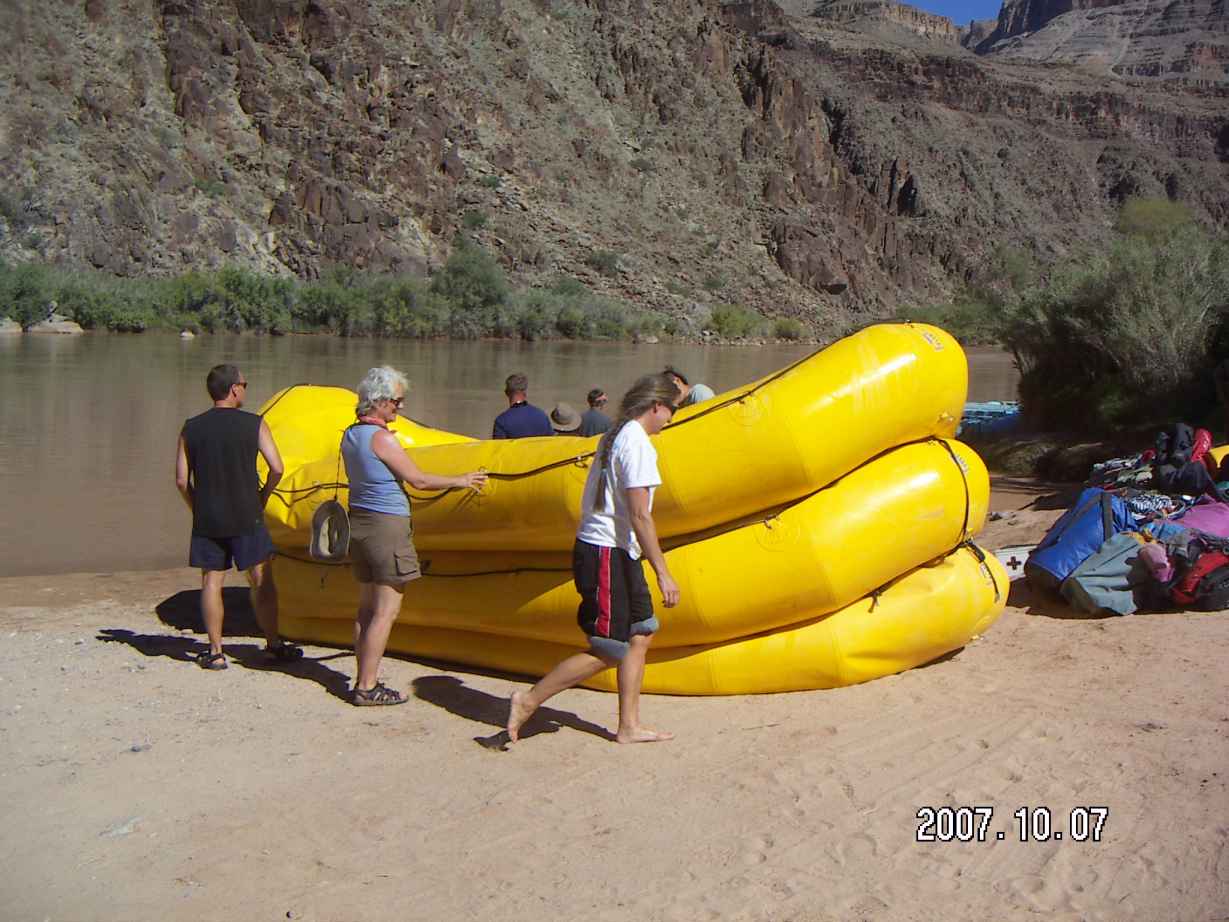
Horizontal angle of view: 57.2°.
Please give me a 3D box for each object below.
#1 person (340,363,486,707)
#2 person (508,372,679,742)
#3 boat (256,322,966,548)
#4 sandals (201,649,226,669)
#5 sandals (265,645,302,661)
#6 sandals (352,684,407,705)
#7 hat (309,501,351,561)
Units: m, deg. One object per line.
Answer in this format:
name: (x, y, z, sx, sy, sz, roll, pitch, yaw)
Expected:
person: (-1.173, 0.418, 6.186, 0.681, 1.856, 0.469, 1, 10, 3)
person: (-0.083, 0.518, 5.593, 0.781, 1.888, 0.497, 1, 10, 2)
boat: (-0.004, -0.032, 6.724, 3.242, 1.039, 2.092, -4, 1, 21)
sandals: (-2.360, 1.173, 6.674, 0.086, 0.063, 0.154, 7, 7, 31)
sandals: (-2.014, 1.173, 6.866, 0.227, 0.102, 0.080, 1, 2, -21)
sandals: (-1.291, 1.291, 6.213, 0.284, 0.127, 0.112, 1, 2, -7)
hat: (-1.559, 0.384, 6.343, 0.259, 0.334, 0.111, -1, -9, 36)
